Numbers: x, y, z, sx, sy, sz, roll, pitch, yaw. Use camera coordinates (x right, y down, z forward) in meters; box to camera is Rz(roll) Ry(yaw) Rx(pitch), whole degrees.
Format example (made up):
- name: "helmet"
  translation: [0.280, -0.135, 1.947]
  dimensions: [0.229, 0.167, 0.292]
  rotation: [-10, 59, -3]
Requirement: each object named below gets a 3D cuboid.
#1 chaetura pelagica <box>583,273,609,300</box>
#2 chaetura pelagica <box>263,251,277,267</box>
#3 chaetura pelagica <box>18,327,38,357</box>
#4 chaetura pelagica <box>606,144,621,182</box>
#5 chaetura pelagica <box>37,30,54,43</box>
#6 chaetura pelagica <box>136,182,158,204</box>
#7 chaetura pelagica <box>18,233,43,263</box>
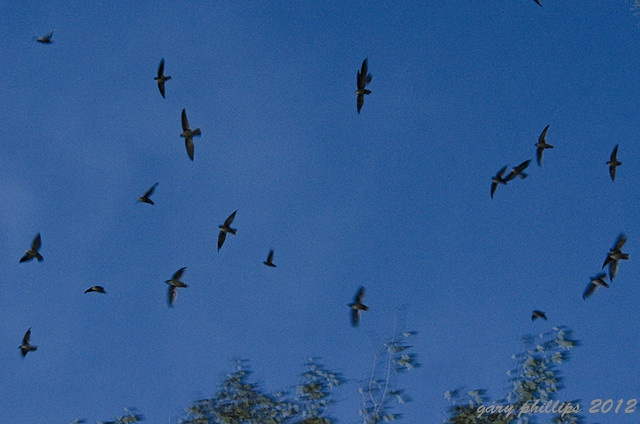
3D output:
- name: "chaetura pelagica"
  translation: [1.499, 0.406, 7.983]
  dimensions: [0.166, 0.095, 0.053]
  rotation: [-45, -30, 10]
- name: "chaetura pelagica"
  translation: [-0.270, 0.262, 7.987]
  dimensions: [0.072, 0.060, 0.079]
  rotation: [-7, -53, 3]
- name: "chaetura pelagica"
  translation: [-1.590, 0.712, 7.953]
  dimensions: [0.095, 0.093, 0.104]
  rotation: [-19, -55, 12]
- name: "chaetura pelagica"
  translation: [1.608, -0.256, 7.999]
  dimensions: [0.078, 0.117, 0.159]
  rotation: [-5, -53, 2]
- name: "chaetura pelagica"
  translation: [-1.484, -0.935, 7.972]
  dimensions: [0.088, 0.042, 0.052]
  rotation: [-3, -81, 10]
- name: "chaetura pelagica"
  translation: [-0.931, -0.082, 7.921]
  dimensions: [0.089, 0.073, 0.110]
  rotation: [6, -86, -13]
- name: "chaetura pelagica"
  translation: [-1.567, 0.202, 7.961]
  dimensions: [0.132, 0.095, 0.117]
  rotation: [-3, -53, 0]
